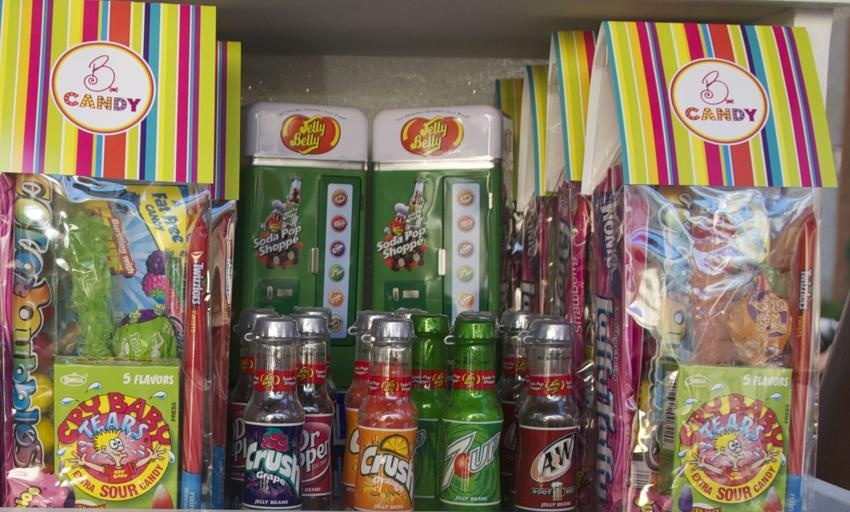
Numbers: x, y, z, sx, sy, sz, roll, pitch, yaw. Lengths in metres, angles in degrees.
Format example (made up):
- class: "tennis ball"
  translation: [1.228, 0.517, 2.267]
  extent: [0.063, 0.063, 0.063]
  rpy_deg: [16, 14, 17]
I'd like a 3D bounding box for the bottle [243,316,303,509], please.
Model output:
- class: "bottle"
  translation: [-0.264, 0.269, 1.453]
  extent: [0.100, 0.326, 0.150]
  rpy_deg: [0, -3, -12]
